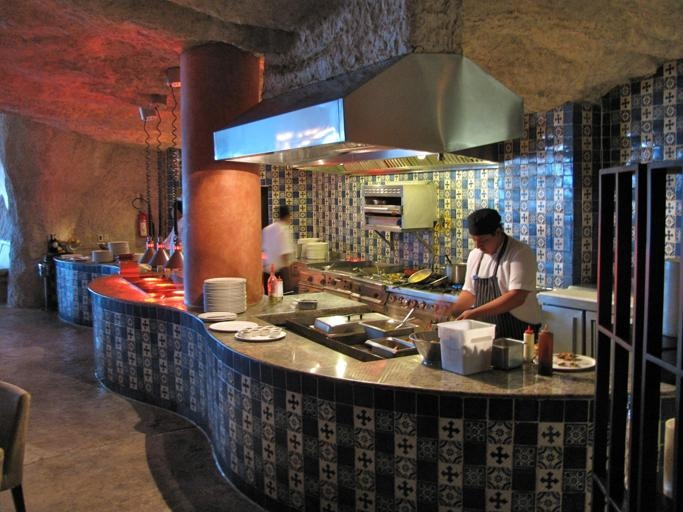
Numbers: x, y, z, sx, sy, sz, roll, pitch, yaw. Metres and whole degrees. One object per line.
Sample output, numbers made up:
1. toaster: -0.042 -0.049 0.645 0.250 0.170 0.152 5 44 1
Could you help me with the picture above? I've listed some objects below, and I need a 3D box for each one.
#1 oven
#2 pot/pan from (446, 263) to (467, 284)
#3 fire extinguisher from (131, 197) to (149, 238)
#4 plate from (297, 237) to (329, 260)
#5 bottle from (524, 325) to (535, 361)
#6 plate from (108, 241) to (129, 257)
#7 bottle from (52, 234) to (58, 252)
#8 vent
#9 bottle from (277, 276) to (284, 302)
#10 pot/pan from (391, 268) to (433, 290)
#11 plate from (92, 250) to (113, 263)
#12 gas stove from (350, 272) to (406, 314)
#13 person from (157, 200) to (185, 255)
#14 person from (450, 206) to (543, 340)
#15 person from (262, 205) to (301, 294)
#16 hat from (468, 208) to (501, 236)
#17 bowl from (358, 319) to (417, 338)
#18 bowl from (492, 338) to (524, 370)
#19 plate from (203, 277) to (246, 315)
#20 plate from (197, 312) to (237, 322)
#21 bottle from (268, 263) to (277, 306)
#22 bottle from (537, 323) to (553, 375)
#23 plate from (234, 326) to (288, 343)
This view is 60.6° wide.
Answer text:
1. oven: 0.664 -0.582 7.076 0.568 0.525 0.867 -3 6 -28
2. pot/pan: 1.231 0.191 6.263 0.208 0.153 0.190 1 2 44
3. fire extinguisher: -3.979 -0.761 11.600 0.246 0.877 0.213 -1 8 -1
4. plate: -0.390 -0.102 8.670 0.308 0.240 0.404 0 -2 21
5. bottle: 1.139 0.543 3.560 0.053 0.191 0.137 1 8 18
6. plate: -3.651 -0.129 9.614 0.297 0.210 0.288 -1 6 -16
7. bottle: -5.014 -0.205 10.272 0.109 0.309 0.202 -5 9 -27
8. vent: 0.087 -1.040 4.338 1.582 0.558 1.950 -9 9 -39
9. bottle: -0.613 0.317 5.725 0.080 0.193 0.236 -2 8 -2
10. pot/pan: 0.840 0.259 6.518 0.316 0.050 0.210 -23 14 -17
11. plate: -3.781 0.009 9.233 0.227 0.134 0.222 2 3 -4
12. gas stove: 0.393 0.483 7.022 0.651 0.284 0.907 14 0 -41
13. person: -2.194 -0.359 7.585 0.280 0.726 3.011 -3 8 -15
14. person: 1.154 0.164 4.391 0.654 1.037 0.673 1 9 17
15. person: -0.830 -0.038 7.798 0.484 1.264 1.293 -2 8 -5
16. hat: 1.089 -0.258 4.391 0.173 0.143 0.235 1 4 27
17. bowl: 0.360 0.567 4.470 0.250 0.111 0.388 -8 10 -40
18. bowl: 0.984 0.571 3.468 0.173 0.126 0.173 -1 1 0
19. plate: -0.987 0.331 4.999 0.321 0.231 0.312 0 1 -23
20. plate: -1.031 0.510 4.824 0.309 0.041 0.197 -2 8 -5
21. bottle: -0.671 0.257 5.700 0.092 0.316 0.333 -2 8 -7
22. bottle: 1.173 0.546 3.370 0.080 0.251 0.077 3 -1 0
23. plate: -0.596 0.573 4.363 0.369 0.041 0.391 -2 8 -5
